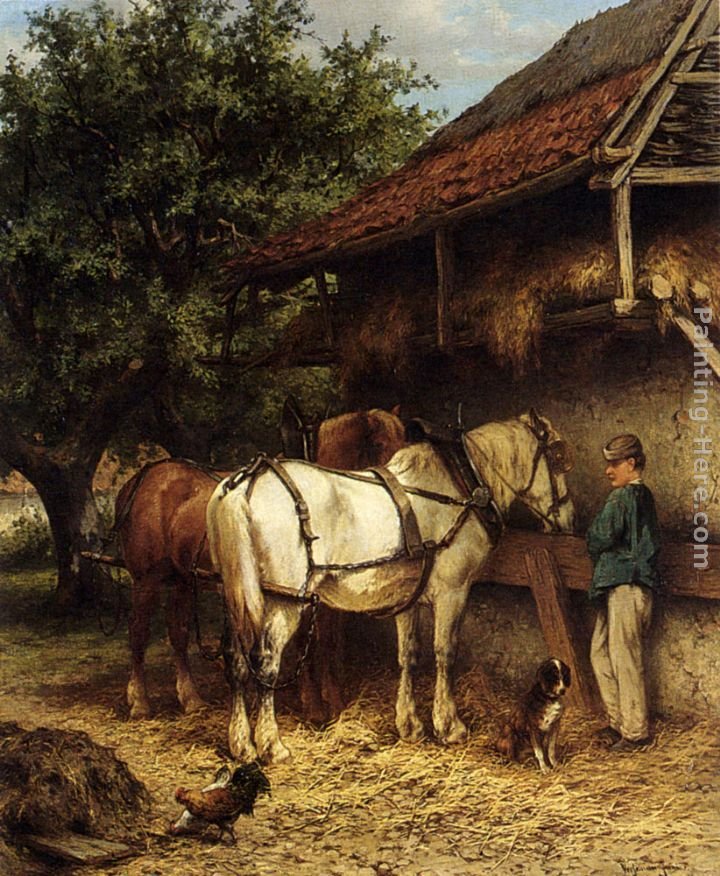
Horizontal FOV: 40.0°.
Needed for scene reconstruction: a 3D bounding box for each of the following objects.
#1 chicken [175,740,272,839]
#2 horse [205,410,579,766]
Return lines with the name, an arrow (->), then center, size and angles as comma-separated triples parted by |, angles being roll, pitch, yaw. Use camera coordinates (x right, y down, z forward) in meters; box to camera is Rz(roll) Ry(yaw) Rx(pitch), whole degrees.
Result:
chicken -> -0.883, 2.219, 6.053 | 0.579, 0.418, 0.516 | -10, 4, -23
horse -> 0.284, 1.063, 7.695 | 3.410, 2.348, 1.087 | 1, -8, -32
